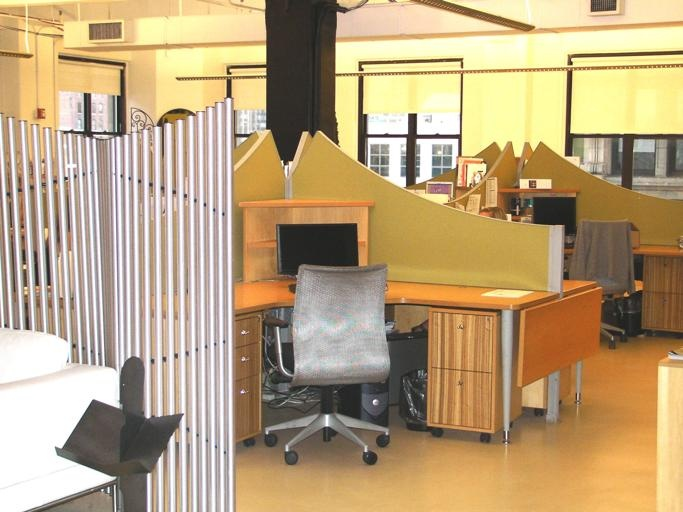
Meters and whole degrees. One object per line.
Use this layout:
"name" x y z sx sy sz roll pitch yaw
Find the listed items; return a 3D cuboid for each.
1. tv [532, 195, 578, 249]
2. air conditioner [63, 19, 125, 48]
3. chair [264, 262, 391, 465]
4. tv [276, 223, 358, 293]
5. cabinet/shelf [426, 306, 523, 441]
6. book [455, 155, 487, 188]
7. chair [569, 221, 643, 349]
"tv" 2.439 -0.417 9.303 0.519 0.483 0.582 6 13 27
"air conditioner" -3.732 -3.335 12.370 0.422 0.391 1.300 -11 16 -44
"chair" -0.078 0.673 5.418 0.865 1.221 0.848 2 2 3
"tv" -0.183 -0.025 6.242 0.626 0.436 0.156 0 -9 -11
"cabinet/shelf" 0.808 0.834 5.749 0.521 0.790 0.645 6 -16 -4
"book" 1.566 -0.994 10.126 0.445 0.429 0.337 1 4 4
"chair" 2.471 0.245 8.091 0.689 1.127 0.665 1 -7 -1
